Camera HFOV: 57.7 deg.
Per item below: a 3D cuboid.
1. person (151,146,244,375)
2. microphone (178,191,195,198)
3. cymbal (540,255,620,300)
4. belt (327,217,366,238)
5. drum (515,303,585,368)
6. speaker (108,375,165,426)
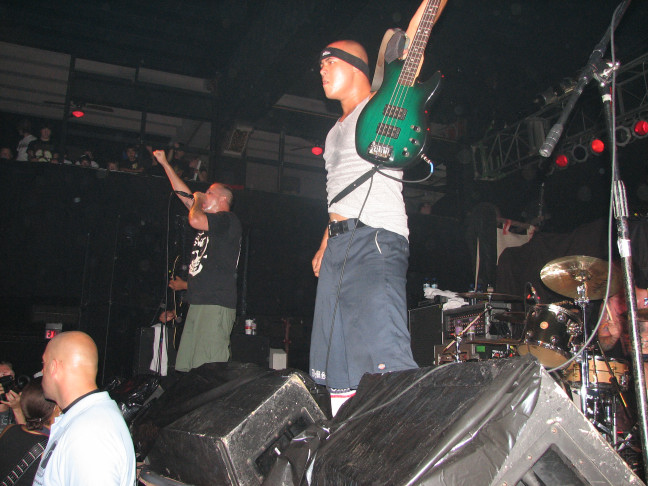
[{"bbox_3d":[-1.023,0.248,5.333,0.496,1.760,0.633,2,-7,-8],"label":"person"},{"bbox_3d":[-1.350,-0.490,5.774,0.212,0.062,0.077,14,27,40],"label":"microphone"},{"bbox_3d":[2.750,0.427,6.452,0.657,0.482,0.843,-1,-8,21],"label":"cymbal"},{"bbox_3d":[0.126,-0.100,3.687,0.154,0.062,0.112,-4,-11,-33],"label":"belt"},{"bbox_3d":[2.238,0.913,5.744,0.504,0.391,0.526,28,-25,14],"label":"drum"},{"bbox_3d":[-1.532,1.291,4.887,0.330,0.167,0.451,15,41,28],"label":"speaker"}]
